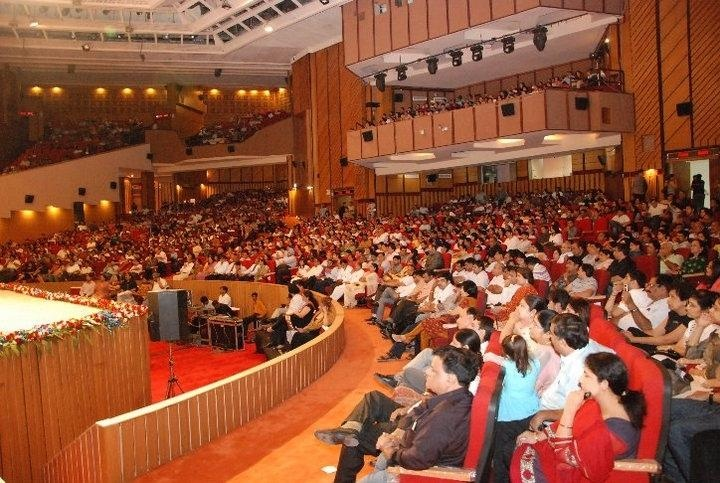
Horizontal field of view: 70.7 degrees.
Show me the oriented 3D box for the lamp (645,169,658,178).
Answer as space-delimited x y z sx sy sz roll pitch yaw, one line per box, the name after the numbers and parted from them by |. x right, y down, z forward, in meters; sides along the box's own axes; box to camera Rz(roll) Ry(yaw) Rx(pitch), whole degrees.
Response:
8.199 -1.954 14.322 0.339 0.359 0.181 11 22 41 | lamp

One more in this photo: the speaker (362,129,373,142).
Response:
0.262 -3.805 17.945 0.373 0.363 0.235 1 29 40 | speaker

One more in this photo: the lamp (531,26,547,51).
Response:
5.233 -6.004 14.857 0.365 0.788 0.495 -2 2 27 | lamp

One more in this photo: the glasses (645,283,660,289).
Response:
3.571 0.523 6.196 0.124 0.042 0.127 -4 1 -21 | glasses

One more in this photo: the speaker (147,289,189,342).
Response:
-2.607 0.960 7.042 0.570 0.782 0.638 -1 0 16 | speaker

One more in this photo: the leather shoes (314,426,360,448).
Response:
-0.218 1.631 4.285 0.428 0.162 0.191 7 12 -7 | leather shoes

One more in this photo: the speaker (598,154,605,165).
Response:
8.866 -3.027 18.654 0.119 0.419 0.609 -2 2 11 | speaker

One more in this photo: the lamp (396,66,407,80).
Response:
1.402 -5.932 17.583 0.254 0.540 0.499 -3 2 -9 | lamp

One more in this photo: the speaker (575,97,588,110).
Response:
6.029 -3.805 13.865 0.367 0.377 0.169 -1 2 -34 | speaker

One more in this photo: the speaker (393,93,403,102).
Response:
1.541 -6.063 21.162 0.298 0.315 0.172 2 20 -3 | speaker

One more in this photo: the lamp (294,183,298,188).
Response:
-3.357 -2.971 26.321 0.172 0.356 0.181 0 -7 -4 | lamp

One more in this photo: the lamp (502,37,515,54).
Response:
4.484 -5.975 15.360 0.330 0.486 0.395 -2 2 9 | lamp

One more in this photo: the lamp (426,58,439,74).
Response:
2.403 -5.995 17.030 0.340 0.628 0.570 -3 2 6 | lamp

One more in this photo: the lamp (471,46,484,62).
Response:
3.641 -5.930 15.939 0.347 0.446 0.441 -2 2 12 | lamp

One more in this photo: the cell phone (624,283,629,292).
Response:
3.247 0.551 6.197 0.021 0.085 0.078 18 -13 -37 | cell phone

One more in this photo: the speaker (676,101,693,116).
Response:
8.844 -3.649 13.814 0.359 0.384 0.175 4 8 37 | speaker
